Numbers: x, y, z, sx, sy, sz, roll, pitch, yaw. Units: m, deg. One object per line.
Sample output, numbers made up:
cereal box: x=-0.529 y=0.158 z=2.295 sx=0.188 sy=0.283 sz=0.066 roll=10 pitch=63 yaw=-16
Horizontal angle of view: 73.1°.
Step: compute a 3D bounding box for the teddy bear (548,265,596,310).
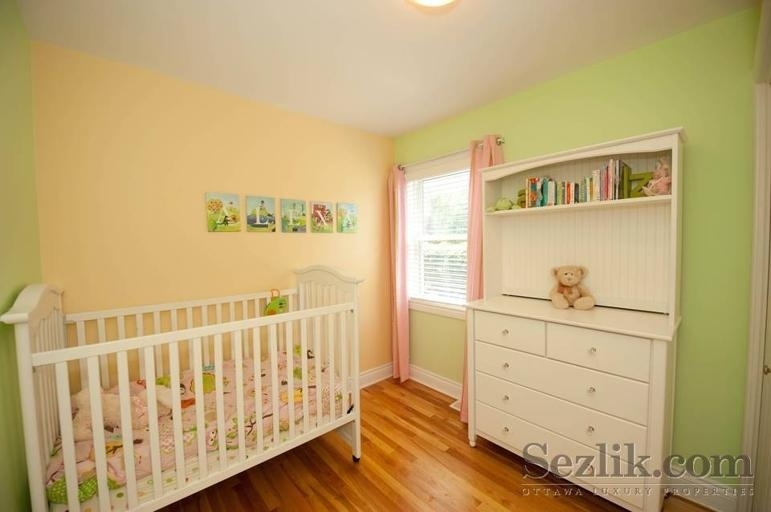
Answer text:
teddy bear: x=1.475 y=0.254 z=4.169 sx=0.344 sy=0.396 sz=0.332 roll=-1 pitch=-5 yaw=25
